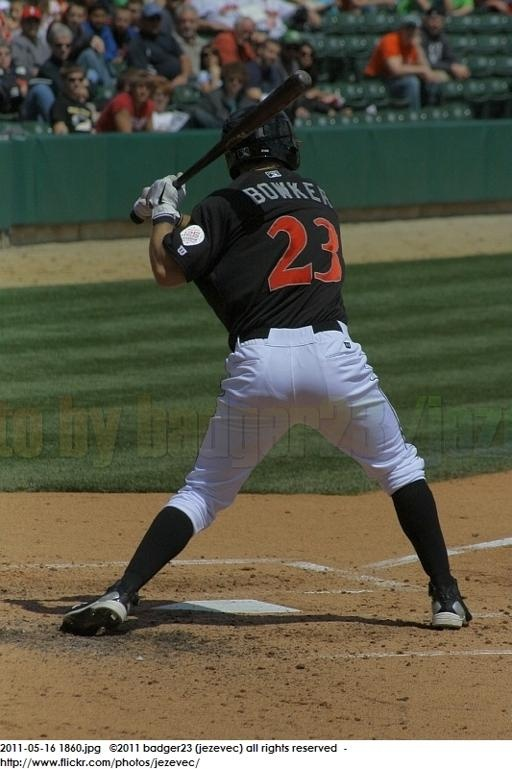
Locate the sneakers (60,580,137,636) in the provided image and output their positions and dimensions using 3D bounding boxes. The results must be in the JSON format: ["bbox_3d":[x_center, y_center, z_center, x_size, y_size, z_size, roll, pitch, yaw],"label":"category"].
[{"bbox_3d":[-0.448,0.665,3.071,0.297,0.097,0.129,-19,24,32],"label":"sneakers"}]

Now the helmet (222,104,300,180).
[{"bbox_3d":[-0.001,-0.758,3.222,0.200,0.170,0.258,-3,11,33],"label":"helmet"}]

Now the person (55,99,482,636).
[{"bbox_3d":[0.052,0.042,3.141,1.173,1.394,0.384,2,7,-8],"label":"person"}]

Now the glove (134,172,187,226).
[{"bbox_3d":[-0.318,-0.556,3.285,0.073,0.116,0.235,16,-18,-36],"label":"glove"}]
